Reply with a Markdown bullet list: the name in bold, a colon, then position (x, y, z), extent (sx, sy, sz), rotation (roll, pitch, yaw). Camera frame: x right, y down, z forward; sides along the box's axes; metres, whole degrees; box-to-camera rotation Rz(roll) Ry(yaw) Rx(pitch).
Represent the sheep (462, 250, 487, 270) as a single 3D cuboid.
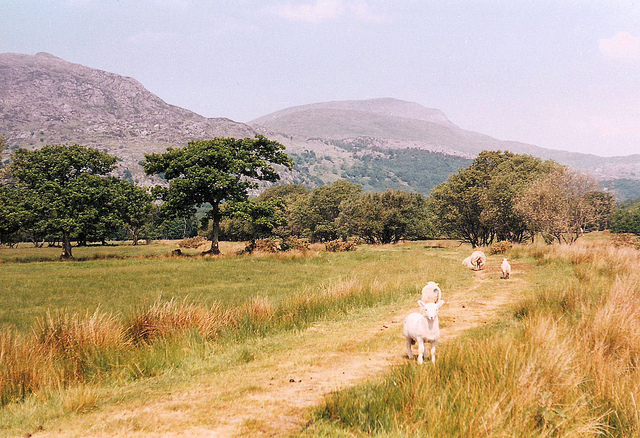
- **sheep**: position (17.977, 4.756, 87.755), extent (1.721, 1.219, 2.305), rotation (-6, 0, 36)
